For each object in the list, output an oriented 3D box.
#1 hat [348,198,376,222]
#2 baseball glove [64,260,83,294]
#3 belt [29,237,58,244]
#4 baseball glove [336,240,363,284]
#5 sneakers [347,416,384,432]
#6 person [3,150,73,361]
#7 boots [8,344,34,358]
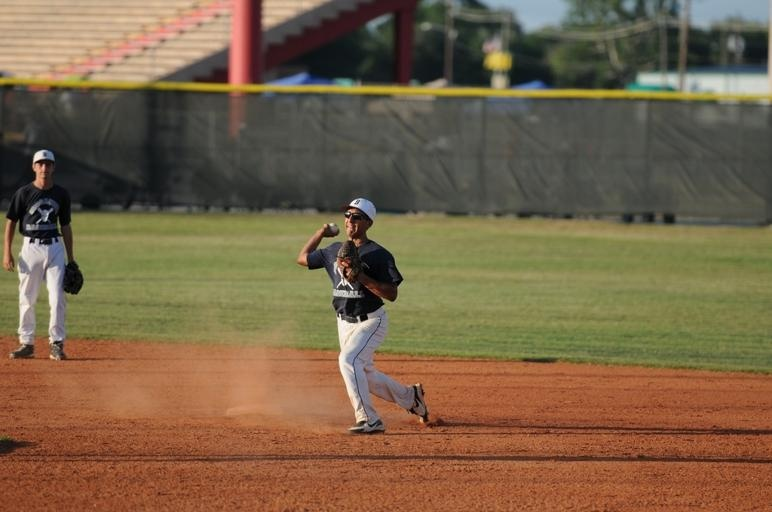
[{"bbox_3d":[-0.375,-0.807,33.781,0.511,0.272,0.355,28,6,-30],"label":"hat"},{"bbox_3d":[-5.959,0.473,35.697,0.219,0.559,0.421,0,-14,5],"label":"baseball glove"},{"bbox_3d":[-6.452,-0.223,35.363,0.535,0.126,0.115,-2,5,-19],"label":"belt"},{"bbox_3d":[-0.656,0.160,33.441,0.327,0.638,0.500,-8,14,-8],"label":"baseball glove"},{"bbox_3d":[-0.379,3.126,33.785,0.668,0.267,0.232,1,1,-5],"label":"sneakers"},{"bbox_3d":[-6.566,0.069,35.499,1.246,3.993,0.575,-1,5,-9],"label":"person"},{"bbox_3d":[-6.955,1.888,35.616,0.444,0.285,0.216,8,1,-1],"label":"boots"}]
